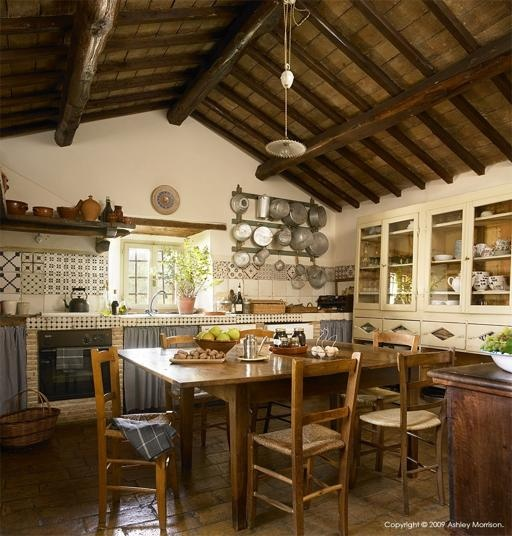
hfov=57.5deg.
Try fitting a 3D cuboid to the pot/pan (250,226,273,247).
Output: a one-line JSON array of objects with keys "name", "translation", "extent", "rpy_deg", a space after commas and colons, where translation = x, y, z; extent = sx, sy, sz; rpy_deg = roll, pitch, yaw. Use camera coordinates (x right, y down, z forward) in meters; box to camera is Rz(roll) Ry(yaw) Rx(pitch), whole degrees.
[{"name": "pot/pan", "translation": [0.069, -0.387, 5.800], "extent": [0.279, 0.232, 0.100], "rpy_deg": [9, -5, -25]}]

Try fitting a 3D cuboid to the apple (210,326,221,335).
[{"name": "apple", "translation": [-0.251, 0.369, 2.773], "extent": [0.052, 0.045, 0.063], "rpy_deg": [18, 5, 28]}]

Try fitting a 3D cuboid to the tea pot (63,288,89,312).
[{"name": "tea pot", "translation": [-1.749, 0.315, 4.578], "extent": [0.234, 0.237, 0.335], "rpy_deg": [1, -2, -23]}]

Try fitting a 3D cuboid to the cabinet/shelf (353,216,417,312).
[{"name": "cabinet/shelf", "translation": [1.460, -0.038, 5.192], "extent": [0.391, 1.147, 1.103], "rpy_deg": [7, -9, -23]}]

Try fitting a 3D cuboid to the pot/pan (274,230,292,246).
[{"name": "pot/pan", "translation": [0.347, -0.390, 5.992], "extent": [0.121, 0.240, 0.224], "rpy_deg": [-1, -2, 41]}]

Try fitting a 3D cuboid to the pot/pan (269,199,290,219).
[{"name": "pot/pan", "translation": [0.304, -0.739, 5.932], "extent": [0.166, 0.256, 0.271], "rpy_deg": [-1, -2, 34]}]

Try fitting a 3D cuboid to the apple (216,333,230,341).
[{"name": "apple", "translation": [-0.190, 0.407, 2.713], "extent": [0.048, 0.041, 0.054], "rpy_deg": [11, 21, 20]}]

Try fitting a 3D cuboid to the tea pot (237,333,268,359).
[{"name": "tea pot", "translation": [0.012, 0.468, 2.787], "extent": [0.129, 0.169, 0.212], "rpy_deg": [1, 0, -15]}]

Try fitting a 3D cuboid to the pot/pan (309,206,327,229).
[{"name": "pot/pan", "translation": [0.839, -0.675, 6.253], "extent": [0.267, 0.333, 0.097], "rpy_deg": [1, -2, -17]}]

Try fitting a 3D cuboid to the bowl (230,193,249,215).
[{"name": "bowl", "translation": [-0.207, -0.770, 5.663], "extent": [0.262, 0.222, 0.215], "rpy_deg": [6, 5, -38]}]

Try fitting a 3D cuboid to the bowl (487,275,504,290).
[{"name": "bowl", "translation": [2.104, 0.135, 4.087], "extent": [0.039, 0.133, 0.163], "rpy_deg": [1, -2, -19]}]

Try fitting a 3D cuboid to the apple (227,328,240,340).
[{"name": "apple", "translation": [-0.139, 0.401, 2.840], "extent": [0.069, 0.071, 0.070], "rpy_deg": [-6, 0, -39]}]

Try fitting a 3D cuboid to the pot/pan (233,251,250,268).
[{"name": "pot/pan", "translation": [-0.174, -0.093, 5.659], "extent": [0.224, 0.179, 0.103], "rpy_deg": [-1, 5, -35]}]

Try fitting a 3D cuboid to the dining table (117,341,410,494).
[{"name": "dining table", "translation": [0.081, 0.882, 2.688], "extent": [1.158, 0.477, 0.588], "rpy_deg": [1, -4, -28]}]

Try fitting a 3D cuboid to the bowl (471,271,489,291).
[{"name": "bowl", "translation": [2.023, 0.122, 4.219], "extent": [0.180, 0.164, 0.158], "rpy_deg": [6, -11, 4]}]

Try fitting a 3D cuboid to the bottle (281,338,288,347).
[{"name": "bottle", "translation": [0.181, 0.476, 2.953], "extent": [0.051, 0.053, 0.046], "rpy_deg": [0, -5, 3]}]

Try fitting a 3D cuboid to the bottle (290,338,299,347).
[{"name": "bottle", "translation": [0.242, 0.474, 2.948], "extent": [0.055, 0.046, 0.053], "rpy_deg": [2, -3, -20]}]

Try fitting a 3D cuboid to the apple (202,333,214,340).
[{"name": "apple", "translation": [-0.279, 0.401, 2.709], "extent": [0.044, 0.038, 0.052], "rpy_deg": [-21, 25, -37]}]

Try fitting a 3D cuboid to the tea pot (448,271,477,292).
[{"name": "tea pot", "translation": [1.925, 0.139, 4.352], "extent": [0.211, 0.137, 0.133], "rpy_deg": [-4, -6, 38]}]

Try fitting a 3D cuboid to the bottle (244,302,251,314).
[{"name": "bottle", "translation": [-0.100, 0.451, 5.269], "extent": [0.052, 0.126, 0.100], "rpy_deg": [-1, -2, 39]}]

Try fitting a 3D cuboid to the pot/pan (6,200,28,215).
[{"name": "pot/pan", "translation": [-2.055, -0.510, 4.004], "extent": [0.097, 0.127, 0.154], "rpy_deg": [-1, -2, 30]}]

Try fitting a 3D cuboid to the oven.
[{"name": "oven", "translation": [-1.497, 0.880, 4.233], "extent": [0.776, 0.607, 0.490], "rpy_deg": [-5, -12, 17]}]

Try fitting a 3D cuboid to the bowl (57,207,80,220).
[{"name": "bowl", "translation": [-1.659, -0.463, 4.139], "extent": [0.141, 0.075, 0.138], "rpy_deg": [-1, -5, 0]}]

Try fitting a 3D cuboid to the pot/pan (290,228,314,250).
[{"name": "pot/pan", "translation": [0.585, -0.371, 6.113], "extent": [0.278, 0.298, 0.131], "rpy_deg": [1, -2, -27]}]
